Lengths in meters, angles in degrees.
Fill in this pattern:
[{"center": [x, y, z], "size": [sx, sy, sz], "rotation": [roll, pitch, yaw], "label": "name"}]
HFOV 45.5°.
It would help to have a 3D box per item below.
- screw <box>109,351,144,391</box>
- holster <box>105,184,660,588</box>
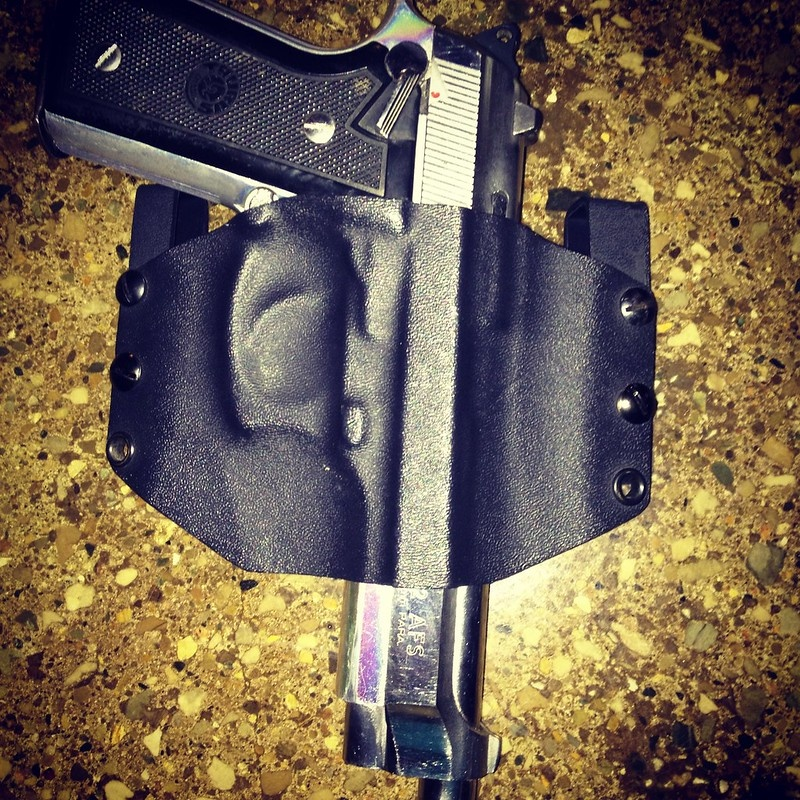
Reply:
[{"center": [-0.556, -0.060, 1.952], "size": [0.055, 0.015, 0.080], "rotation": [0, 89, -10], "label": "screw"}, {"center": [-0.032, -0.021, 1.924], "size": [1.121, 0.142, 0.765], "rotation": [4, 85, -2], "label": "holster"}]
